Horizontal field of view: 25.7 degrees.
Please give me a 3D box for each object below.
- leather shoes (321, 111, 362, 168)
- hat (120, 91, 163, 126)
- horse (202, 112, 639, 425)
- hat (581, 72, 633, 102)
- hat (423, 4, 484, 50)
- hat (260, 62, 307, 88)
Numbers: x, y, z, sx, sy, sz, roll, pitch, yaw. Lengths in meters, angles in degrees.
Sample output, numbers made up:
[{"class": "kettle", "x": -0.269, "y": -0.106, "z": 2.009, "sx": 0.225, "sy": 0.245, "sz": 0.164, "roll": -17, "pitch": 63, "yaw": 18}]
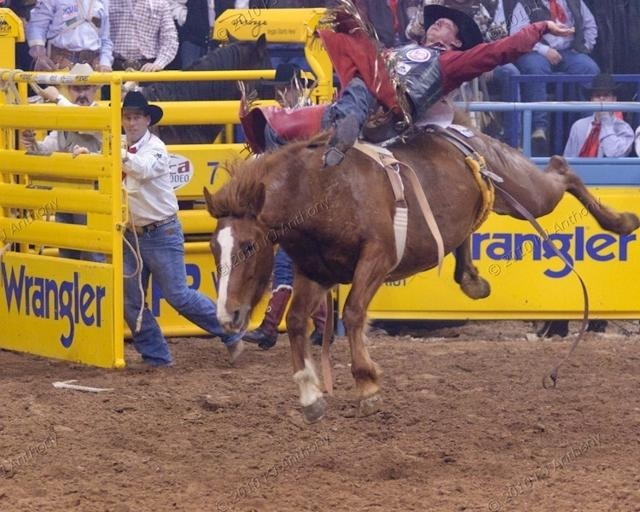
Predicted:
[{"class": "leather shoes", "x": 0.173, "y": -0.835, "z": 9.946, "sx": 0.227, "sy": 0.382, "sz": 0.121, "roll": 26, "pitch": -5, "yaw": -39}, {"class": "hat", "x": -1.447, "y": -1.209, "z": 11.393, "sx": 0.230, "sy": 0.312, "sz": 0.464, "roll": 9, "pitch": 16, "yaw": 24}, {"class": "horse", "x": 0.483, "y": 0.052, "z": 10.481, "sx": 3.219, "sy": 2.031, "sz": 0.950, "roll": -11, "pitch": 20, "yaw": -42}, {"class": "hat", "x": 2.959, "y": -1.796, "z": 14.467, "sx": 0.428, "sy": 0.149, "sz": 0.463, "roll": 2, "pitch": -14, "yaw": 15}, {"class": "hat", "x": 1.010, "y": -1.782, "z": 10.785, "sx": 0.515, "sy": 0.336, "sz": 0.146, "roll": 10, "pitch": 17, "yaw": 30}, {"class": "hat", "x": -0.285, "y": -1.557, "z": 11.730, "sx": 0.381, "sy": 0.175, "sz": 0.256, "roll": 3, "pitch": 0, "yaw": -15}]
